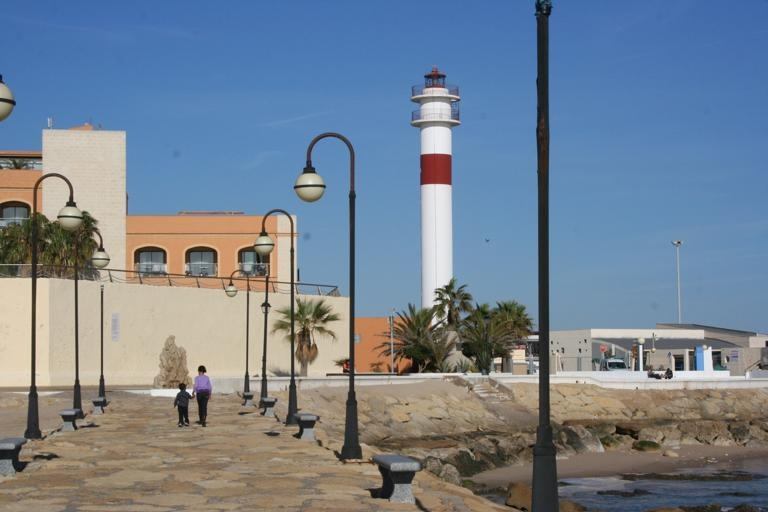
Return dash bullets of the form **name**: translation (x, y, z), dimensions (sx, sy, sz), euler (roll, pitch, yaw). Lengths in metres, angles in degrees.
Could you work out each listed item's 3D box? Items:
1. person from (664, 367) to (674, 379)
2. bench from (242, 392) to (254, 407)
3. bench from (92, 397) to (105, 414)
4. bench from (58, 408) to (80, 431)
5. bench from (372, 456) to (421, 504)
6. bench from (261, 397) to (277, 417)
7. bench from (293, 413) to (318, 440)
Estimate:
- **person**: translation (21.324, 8.887, 104.857), dimensions (0.752, 1.048, 0.508), euler (7, -26, -8)
- **bench**: translation (-7.313, 7.786, 76.400), dimensions (0.732, 0.705, 0.604), euler (1, -6, -11)
- **bench**: translation (-14.587, 7.657, 72.032), dimensions (0.706, 0.793, 0.860), euler (1, -6, 3)
- **bench**: translation (-14.763, 7.724, 66.002), dimensions (1.132, 1.035, 0.884), euler (1, -10, -11)
- **bench**: translation (0.602, 9.046, 57.003), dimensions (1.045, 1.892, 1.705), euler (5, -7, -42)
- **bench**: translation (-5.904, 7.687, 71.958), dimensions (0.797, 0.917, 1.405), euler (-1, 0, -8)
- **bench**: translation (-3.546, 7.871, 64.943), dimensions (1.365, 1.121, 1.066), euler (1, -8, -5)
